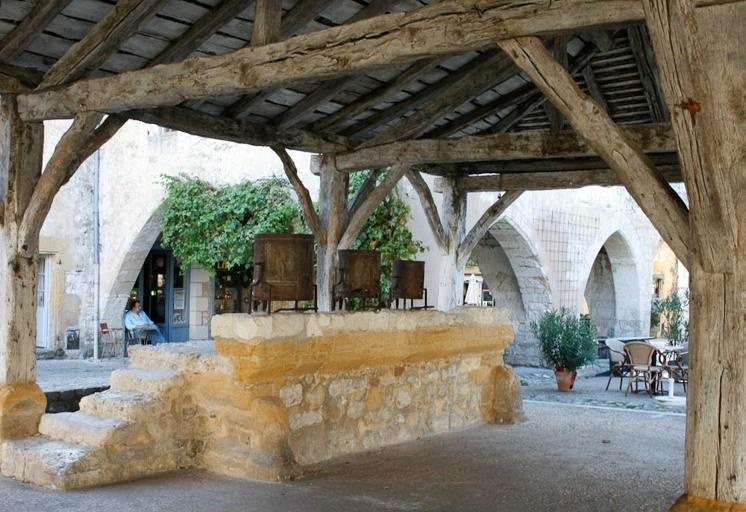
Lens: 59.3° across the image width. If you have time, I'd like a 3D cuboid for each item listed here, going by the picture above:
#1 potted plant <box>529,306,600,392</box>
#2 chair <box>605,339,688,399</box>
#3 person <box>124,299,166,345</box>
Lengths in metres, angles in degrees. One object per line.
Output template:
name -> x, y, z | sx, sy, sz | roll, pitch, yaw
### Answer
potted plant -> 2.928, 1.555, 10.401 | 0.766, 1.186, 0.913 | -3, -3, -34
chair -> 4.112, 1.682, 10.101 | 1.196, 0.870, 0.951 | 1, 0, -42
person -> -4.261, 1.339, 12.251 | 0.574, 1.070, 0.488 | -15, -7, 31
